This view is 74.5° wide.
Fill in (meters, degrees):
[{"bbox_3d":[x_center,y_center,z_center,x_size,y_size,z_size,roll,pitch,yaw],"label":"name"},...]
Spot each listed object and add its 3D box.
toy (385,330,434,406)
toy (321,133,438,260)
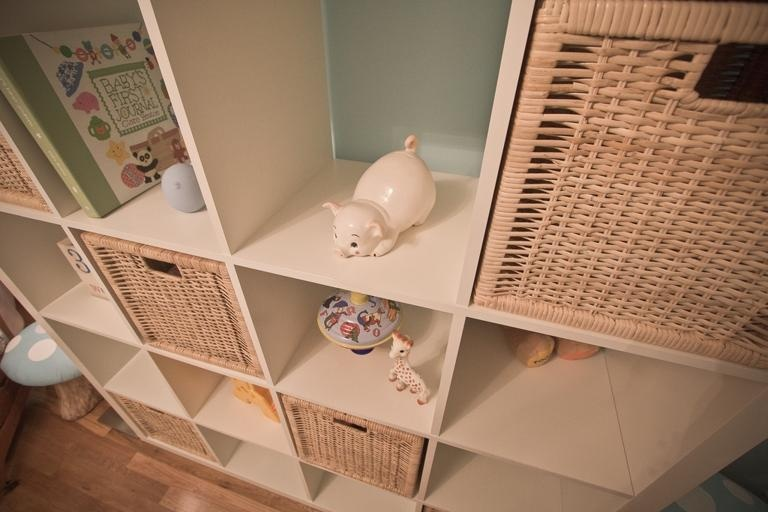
[{"bbox_3d":[0.076,0.348,1.523,0.148,0.188,0.074,29,57,19],"label":"toy"},{"bbox_3d":[0.005,-0.148,1.306,0.181,0.222,0.325,23,43,25],"label":"toy"}]
